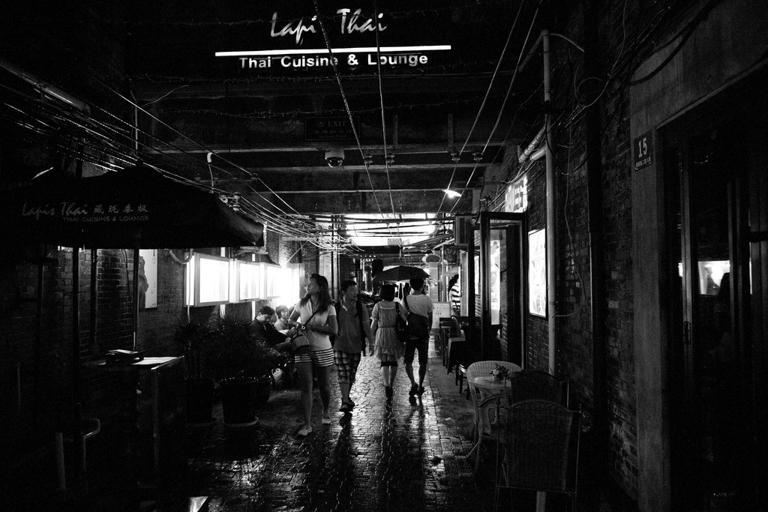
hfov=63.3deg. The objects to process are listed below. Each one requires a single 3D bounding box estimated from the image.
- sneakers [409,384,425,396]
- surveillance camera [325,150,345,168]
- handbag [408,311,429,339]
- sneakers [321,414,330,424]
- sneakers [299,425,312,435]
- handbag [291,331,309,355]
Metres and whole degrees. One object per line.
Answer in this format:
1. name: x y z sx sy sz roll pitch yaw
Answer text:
1. sneakers: 0.589 2.392 11.019 0.197 0.156 0.351 0 -3 4
2. surveillance camera: -0.781 -1.549 10.013 0.268 0.201 0.280 -2 -12 3
3. handbag: 0.599 1.237 11.019 0.429 0.493 0.249 2 -1 2
4. sneakers: -0.840 2.372 9.063 0.144 0.131 0.273 0 1 -6
5. sneakers: -1.060 2.411 8.569 0.157 0.085 0.232 45 4 21
6. handbag: -1.154 1.211 8.578 0.249 0.382 0.194 2 21 9
